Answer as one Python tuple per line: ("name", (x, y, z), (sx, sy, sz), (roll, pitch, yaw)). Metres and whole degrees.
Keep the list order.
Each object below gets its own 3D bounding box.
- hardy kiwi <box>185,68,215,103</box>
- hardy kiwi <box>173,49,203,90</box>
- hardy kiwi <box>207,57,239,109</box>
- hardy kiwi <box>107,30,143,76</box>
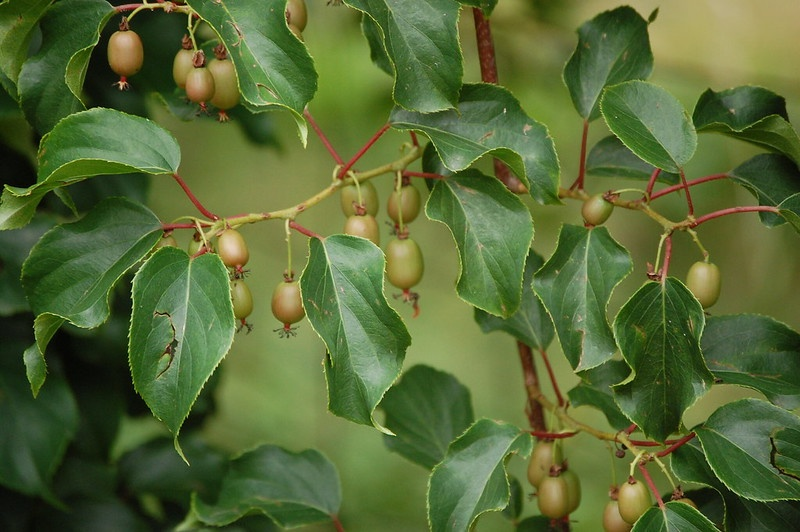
("hardy kiwi", (-0.308, -0.279, 1.428), (0.040, 0.066, 0.048), (1, 2, 1))
("hardy kiwi", (-0.330, -0.303, 1.427), (0.046, 0.077, 0.053), (1, 9, 17))
("hardy kiwi", (-0.270, -0.284, 1.432), (0.055, 0.089, 0.062), (-4, -2, -14))
("hardy kiwi", (-0.416, -0.324, 1.407), (0.051, 0.087, 0.059), (-3, 2, -6))
